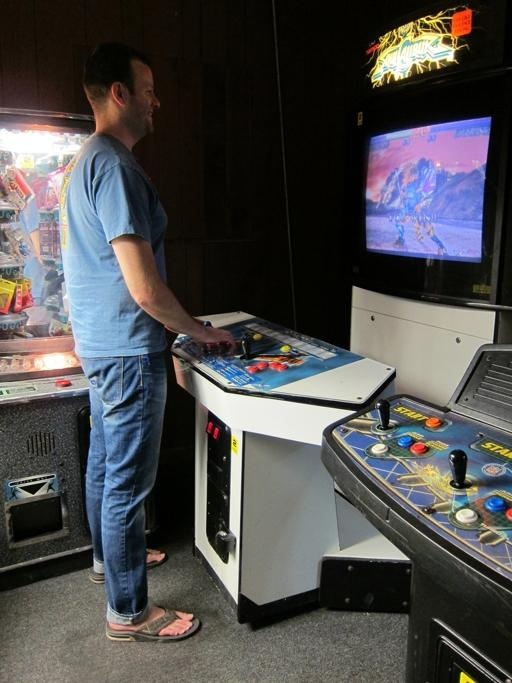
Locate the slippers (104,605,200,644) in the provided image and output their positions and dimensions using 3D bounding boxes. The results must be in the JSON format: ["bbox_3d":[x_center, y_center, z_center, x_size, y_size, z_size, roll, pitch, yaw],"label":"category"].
[{"bbox_3d":[-0.332,0.878,1.739,0.229,0.079,0.131,-1,5,-15],"label":"slippers"}]

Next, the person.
[{"bbox_3d":[-0.391,0.038,1.703,0.353,1.836,0.467,-7,12,-35],"label":"person"}]
